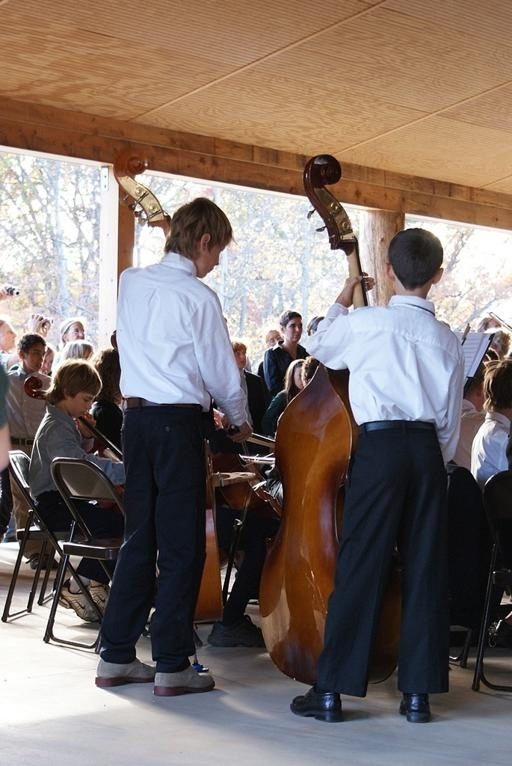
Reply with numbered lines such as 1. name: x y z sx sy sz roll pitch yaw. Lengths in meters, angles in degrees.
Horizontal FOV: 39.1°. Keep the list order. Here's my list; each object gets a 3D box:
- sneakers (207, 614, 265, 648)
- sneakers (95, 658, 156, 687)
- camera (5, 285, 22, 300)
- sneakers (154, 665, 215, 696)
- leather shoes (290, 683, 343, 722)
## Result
1. sneakers: -0.071 1.040 2.976 0.300 0.119 0.092 1 -9 -4
2. sneakers: -0.413 0.935 2.338 0.205 0.076 0.087 0 -2 -27
3. camera: -1.826 -0.682 5.379 0.153 0.096 0.072 3 24 33
4. sneakers: -0.217 0.922 2.241 0.191 0.072 0.076 1 -2 -29
5. leather shoes: 0.174 0.894 2.022 0.076 0.067 0.157 8 -6 -39
